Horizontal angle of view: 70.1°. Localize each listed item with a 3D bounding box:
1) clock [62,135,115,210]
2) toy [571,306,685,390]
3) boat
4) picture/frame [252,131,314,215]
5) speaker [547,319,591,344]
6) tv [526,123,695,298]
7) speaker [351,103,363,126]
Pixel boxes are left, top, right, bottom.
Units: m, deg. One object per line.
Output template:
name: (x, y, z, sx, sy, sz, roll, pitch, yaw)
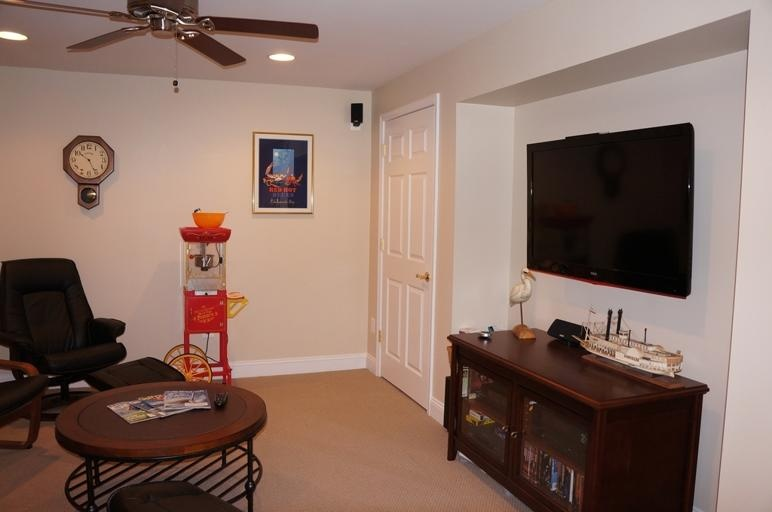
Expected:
clock: (-2.840, -0.805, 5.255, 0.426, 0.664, 0.155, -3, 14, -20)
toy: (1.560, 0.551, 3.610, 0.252, 0.320, 0.765, 2, 6, -33)
boat: (1.571, 0.567, 3.674, 0.274, 0.335, 0.786, 3, 12, -31)
picture/frame: (-1.099, -0.879, 5.680, 0.893, 1.111, 0.041, -1, 7, -10)
speaker: (1.303, 0.541, 3.962, 0.157, 0.146, 0.222, -9, 10, -34)
tv: (1.491, -0.310, 3.591, 0.099, 1.013, 1.246, -4, 6, -35)
speaker: (-0.305, -1.488, 5.789, 0.138, 0.242, 0.105, -2, 14, -14)
